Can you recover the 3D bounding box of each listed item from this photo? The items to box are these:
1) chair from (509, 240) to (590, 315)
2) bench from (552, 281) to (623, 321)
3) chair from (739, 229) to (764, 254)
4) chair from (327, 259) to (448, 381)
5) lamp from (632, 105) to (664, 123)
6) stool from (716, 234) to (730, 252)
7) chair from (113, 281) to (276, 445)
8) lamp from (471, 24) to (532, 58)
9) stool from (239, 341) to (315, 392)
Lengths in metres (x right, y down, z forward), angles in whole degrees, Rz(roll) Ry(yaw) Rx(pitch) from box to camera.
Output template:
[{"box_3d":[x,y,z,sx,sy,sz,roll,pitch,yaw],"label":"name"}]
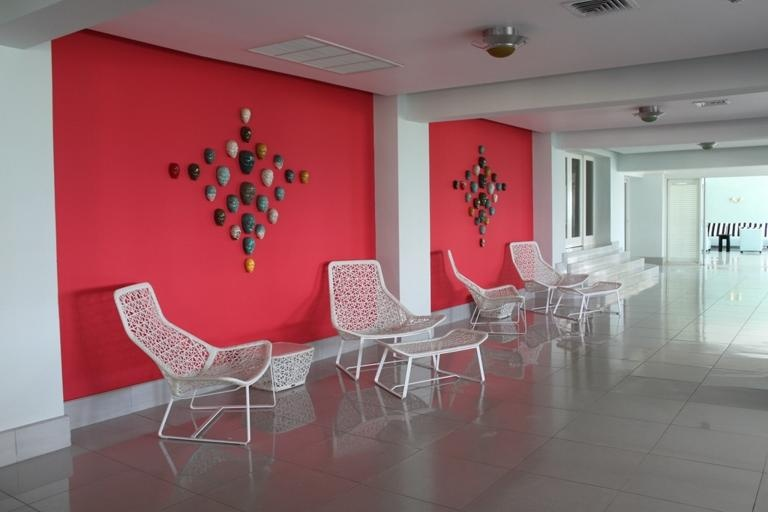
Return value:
[{"box_3d":[2.968,0.315,9.139,1.359,1.200,1.370,1,6,40],"label":"chair"},{"box_3d":[3.645,0.718,8.893,1.139,0.524,2.153,2,7,25],"label":"bench"},{"box_3d":[13.820,-0.522,18.591,0.883,0.908,0.939,2,2,31],"label":"chair"},{"box_3d":[0.094,0.594,6.142,1.792,1.498,1.239,0,-5,-40],"label":"chair"},{"box_3d":[3.986,-2.151,7.519,0.294,0.192,0.287,0,3,1],"label":"lamp"},{"box_3d":[13.592,-0.506,19.843,0.419,0.619,0.586,3,8,35],"label":"stool"},{"box_3d":[-1.797,0.880,4.731,1.483,1.284,1.204,3,6,9],"label":"chair"},{"box_3d":[1.026,-1.934,4.525,0.483,0.229,0.359,2,7,29],"label":"lamp"},{"box_3d":[-1.040,1.176,5.250,0.455,0.348,0.558,2,-6,-37],"label":"stool"}]
